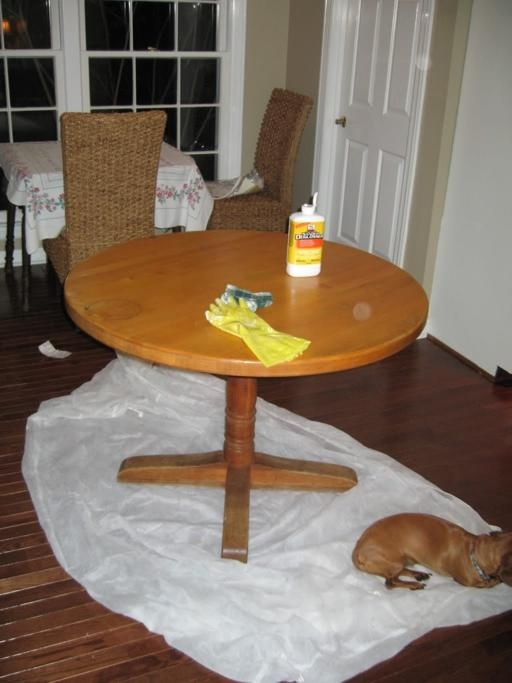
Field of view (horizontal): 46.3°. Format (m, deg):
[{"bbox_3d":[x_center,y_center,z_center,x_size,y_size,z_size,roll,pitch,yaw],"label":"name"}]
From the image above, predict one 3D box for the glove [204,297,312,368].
[{"bbox_3d":[-0.006,-0.018,1.091,0.110,0.046,0.178,-24,37,-38],"label":"glove"}]
